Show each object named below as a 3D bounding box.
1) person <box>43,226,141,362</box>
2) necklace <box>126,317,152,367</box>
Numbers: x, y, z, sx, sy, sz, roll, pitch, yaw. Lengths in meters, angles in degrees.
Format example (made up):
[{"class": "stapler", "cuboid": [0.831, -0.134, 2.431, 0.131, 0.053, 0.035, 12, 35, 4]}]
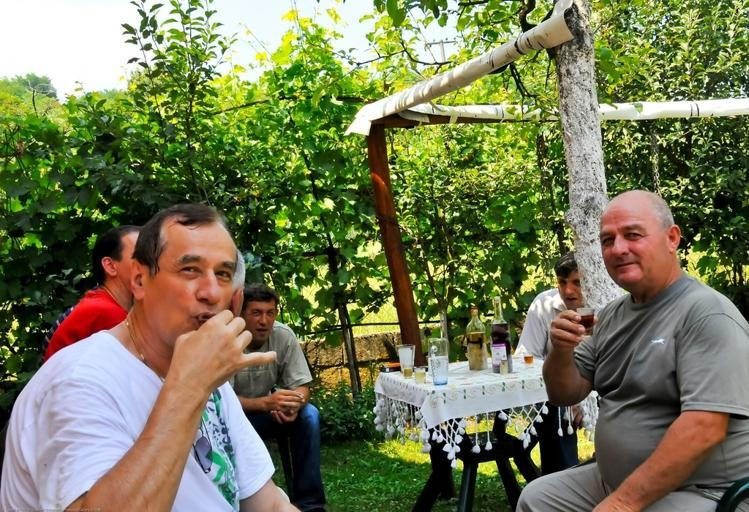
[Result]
[{"class": "person", "cuboid": [-1.749, 0.215, 3.626, 0.571, 0.926, 0.963, 2, -6, -19]}, {"class": "necklace", "cuboid": [-0.894, 0.320, 2.211, 0.116, 0.152, 0.038, -13, 9, 28]}]
